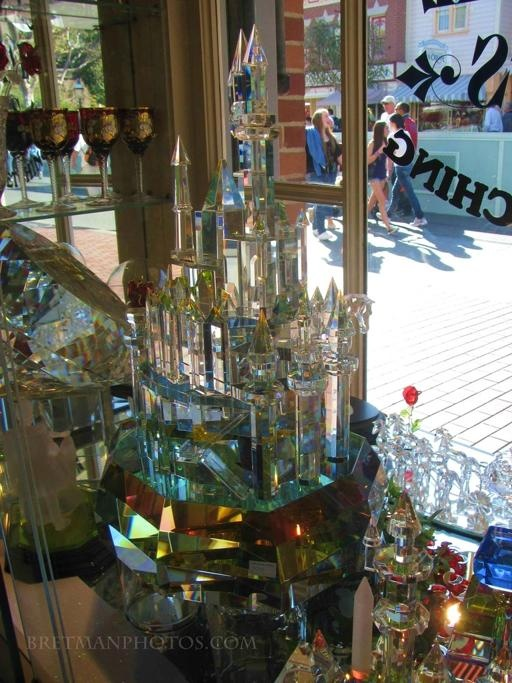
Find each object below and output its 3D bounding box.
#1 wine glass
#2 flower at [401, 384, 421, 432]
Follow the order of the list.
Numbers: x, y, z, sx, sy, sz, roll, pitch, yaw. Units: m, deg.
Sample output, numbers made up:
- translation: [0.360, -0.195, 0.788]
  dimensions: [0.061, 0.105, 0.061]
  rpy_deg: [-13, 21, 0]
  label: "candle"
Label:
- translation: [-0.479, -0.508, 1.572]
  dimensions: [0.430, 0.267, 0.300]
  rpy_deg: [-13, 19, -28]
  label: "wine glass"
- translation: [0.256, 0.118, 0.928]
  dimensions: [0.038, 0.089, 0.030]
  rpy_deg: [-6, 9, -2]
  label: "flower"
